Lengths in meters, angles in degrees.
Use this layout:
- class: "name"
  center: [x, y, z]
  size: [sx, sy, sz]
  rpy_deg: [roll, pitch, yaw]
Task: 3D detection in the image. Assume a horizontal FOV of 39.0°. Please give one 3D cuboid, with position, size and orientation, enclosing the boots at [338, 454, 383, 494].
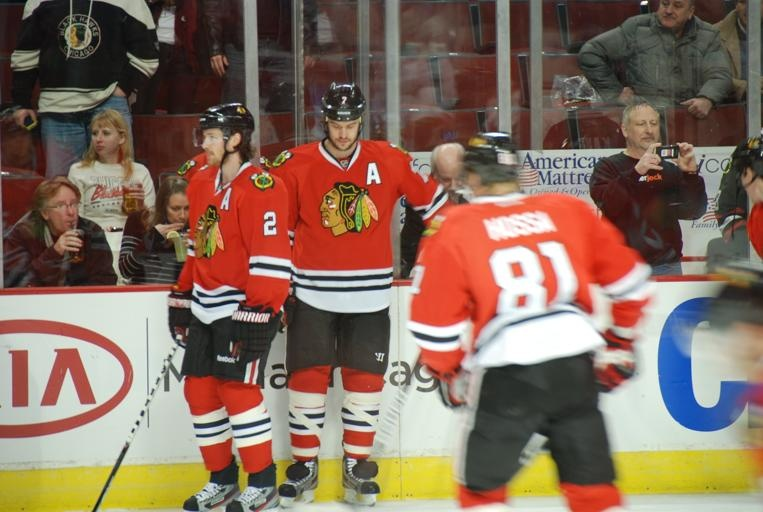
- class: "boots"
  center: [-0.158, 1.469, 7.284]
  size: [0.307, 0.273, 0.140]
  rpy_deg: [3, 10, 25]

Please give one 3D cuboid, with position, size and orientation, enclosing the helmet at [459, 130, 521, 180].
- class: "helmet"
  center: [0.616, -0.529, 6.258]
  size: [0.315, 0.356, 0.258]
  rpy_deg: [1, -17, 3]

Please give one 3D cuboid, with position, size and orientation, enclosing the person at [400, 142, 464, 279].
- class: "person"
  center: [0.355, -0.345, 7.603]
  size: [0.180, 0.817, 0.796]
  rpy_deg: [4, 3, 5]

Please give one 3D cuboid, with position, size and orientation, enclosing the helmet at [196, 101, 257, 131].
- class: "helmet"
  center: [-1.020, -0.903, 7.156]
  size: [0.243, 0.223, 0.200]
  rpy_deg: [-5, 10, -6]

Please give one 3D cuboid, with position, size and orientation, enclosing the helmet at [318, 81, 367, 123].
- class: "helmet"
  center: [-0.251, -0.993, 7.319]
  size: [0.326, 0.380, 0.420]
  rpy_deg: [-2, 24, -8]

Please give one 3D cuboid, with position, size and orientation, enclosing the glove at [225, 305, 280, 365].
- class: "glove"
  center: [-0.804, 0.525, 7.034]
  size: [0.342, 0.424, 0.298]
  rpy_deg: [5, -13, -20]

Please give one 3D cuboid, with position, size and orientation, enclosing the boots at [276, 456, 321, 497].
- class: "boots"
  center: [-0.538, 1.468, 7.240]
  size: [0.123, 0.301, 0.401]
  rpy_deg: [14, 7, 28]

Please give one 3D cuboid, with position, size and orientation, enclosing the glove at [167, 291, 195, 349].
- class: "glove"
  center: [-1.340, 0.397, 7.311]
  size: [0.210, 0.322, 0.304]
  rpy_deg: [0, 6, -1]

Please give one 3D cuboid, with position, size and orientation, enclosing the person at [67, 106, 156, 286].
- class: "person"
  center: [-1.892, -0.244, 7.757]
  size: [0.545, 1.582, 0.491]
  rpy_deg: [-6, 20, -17]

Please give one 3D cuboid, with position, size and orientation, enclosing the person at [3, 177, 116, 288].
- class: "person"
  center: [-2.254, -0.151, 7.513]
  size: [0.754, 0.697, 0.255]
  rpy_deg: [-4, 9, -16]
